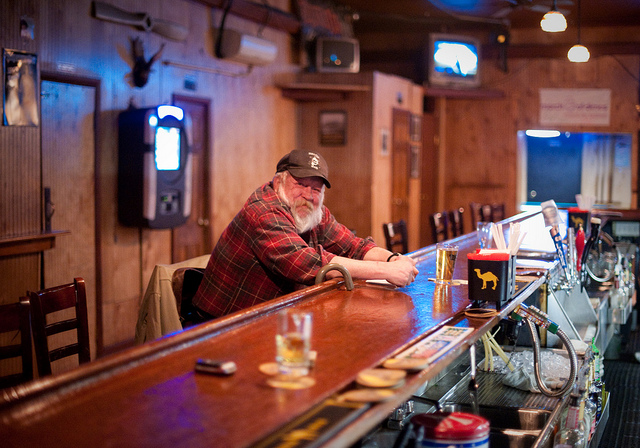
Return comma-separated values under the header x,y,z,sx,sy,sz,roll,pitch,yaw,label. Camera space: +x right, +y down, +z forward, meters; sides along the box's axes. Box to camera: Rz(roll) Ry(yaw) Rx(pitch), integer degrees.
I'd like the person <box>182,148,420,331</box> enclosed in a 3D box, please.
x,y,z,sx,sy,sz,roll,pitch,yaw,label
-0.108,0.066,2.560,1.160,0.932,0.827,2,3,10,person

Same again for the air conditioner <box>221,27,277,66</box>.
x,y,z,sx,sy,sz,roll,pitch,yaw,label
-0.894,-2.315,5.991,0.340,0.325,0.762,31,20,28,air conditioner

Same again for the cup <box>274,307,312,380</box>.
x,y,z,sx,sy,sz,roll,pitch,yaw,label
-0.070,0.315,1.312,0.098,0.192,0.221,1,2,-3,cup

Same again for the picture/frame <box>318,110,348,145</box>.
x,y,z,sx,sy,sz,roll,pitch,yaw,label
0.214,-1.459,7.245,0.496,0.597,0.081,4,9,25,picture/frame

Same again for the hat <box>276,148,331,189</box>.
x,y,z,sx,sy,sz,roll,pitch,yaw,label
-0.116,-0.308,2.661,0.194,0.133,0.251,11,-6,-31,hat

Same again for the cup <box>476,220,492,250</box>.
x,y,z,sx,sy,sz,roll,pitch,yaw,label
0.861,0.062,2.528,0.070,0.142,0.332,2,2,19,cup

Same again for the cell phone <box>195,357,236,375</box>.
x,y,z,sx,sy,sz,roll,pitch,yaw,label
-0.288,0.376,1.309,0.078,0.029,0.049,6,-5,7,cell phone

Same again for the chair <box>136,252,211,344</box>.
x,y,z,sx,sy,sz,roll,pitch,yaw,label
-0.748,0.384,2.378,0.284,0.368,0.408,1,2,-10,chair

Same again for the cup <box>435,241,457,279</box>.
x,y,z,sx,sy,sz,roll,pitch,yaw,label
0.580,0.178,2.228,0.085,0.169,0.227,2,2,13,cup
